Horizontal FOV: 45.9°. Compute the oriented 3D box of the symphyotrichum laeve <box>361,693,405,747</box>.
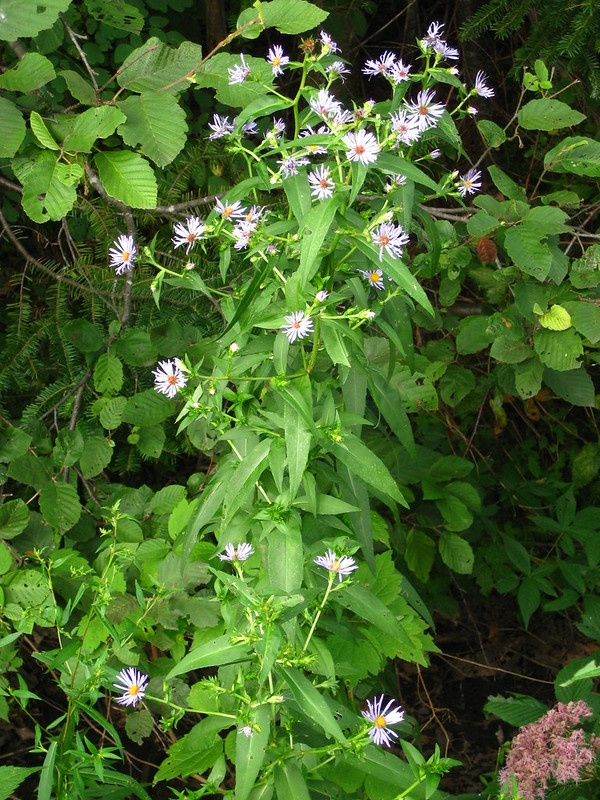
[{"bbox_3d":[0.110,0.452,0.991,0.069,0.066,0.016,15,103,19],"label":"symphyotrichum laeve"}]
